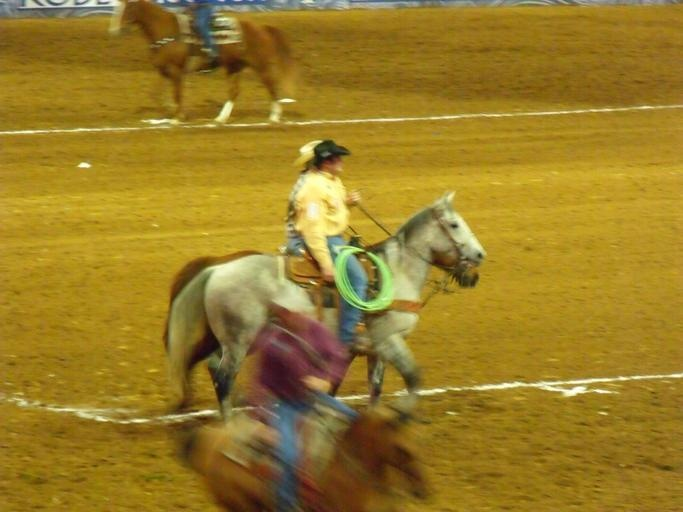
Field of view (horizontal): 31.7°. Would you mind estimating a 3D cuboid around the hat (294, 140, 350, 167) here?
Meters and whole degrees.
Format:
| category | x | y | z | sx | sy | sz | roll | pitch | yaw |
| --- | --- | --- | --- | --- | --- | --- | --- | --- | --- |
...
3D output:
| category | x | y | z | sx | sy | sz | roll | pitch | yaw |
| --- | --- | --- | --- | --- | --- | --- | --- | --- | --- |
| hat | -0.228 | -1.268 | 15.118 | 0.663 | 0.377 | 0.470 | 1 | 21 | 2 |
